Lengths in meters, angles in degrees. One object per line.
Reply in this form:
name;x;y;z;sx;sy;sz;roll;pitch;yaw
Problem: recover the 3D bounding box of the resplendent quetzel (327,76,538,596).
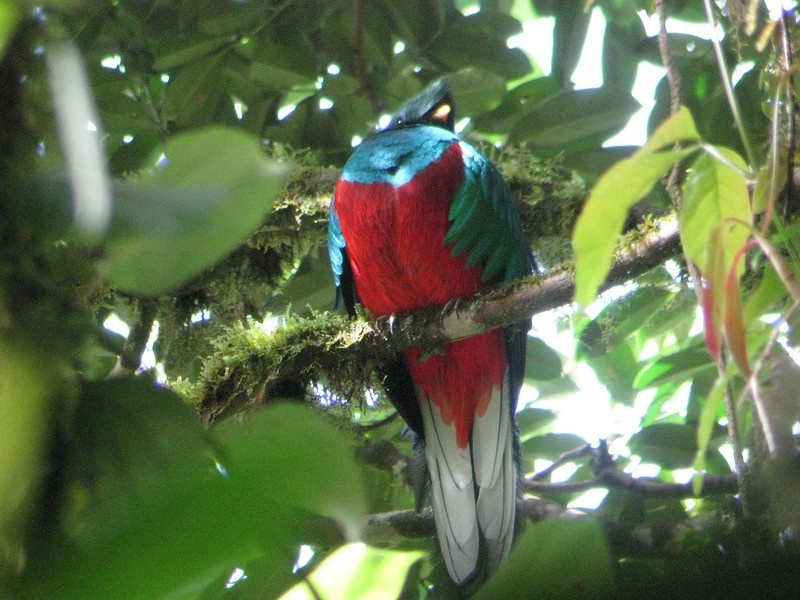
resplendent quetzel;0.121;0.057;2.792;0.461;1.471;0.601;-1;-11;-20
